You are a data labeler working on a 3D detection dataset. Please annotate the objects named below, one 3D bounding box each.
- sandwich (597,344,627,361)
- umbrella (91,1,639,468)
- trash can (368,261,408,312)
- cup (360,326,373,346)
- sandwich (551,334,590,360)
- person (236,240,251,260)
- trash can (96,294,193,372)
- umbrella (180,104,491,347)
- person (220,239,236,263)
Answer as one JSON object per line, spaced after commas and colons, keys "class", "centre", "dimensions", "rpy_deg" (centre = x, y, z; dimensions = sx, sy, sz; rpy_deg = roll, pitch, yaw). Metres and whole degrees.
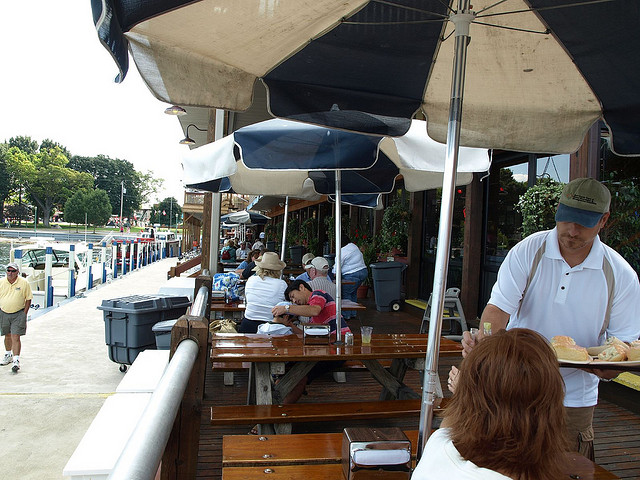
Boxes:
{"class": "sandwich", "centre": [1.433, 0.555, 2.528], "dimensions": [0.111, 0.068, 0.095], "rpy_deg": [0, 2, -4]}
{"class": "umbrella", "centre": [0.040, -0.077, 3.465], "dimensions": [2.480, 2.776, 2.645], "rpy_deg": [-9, 20, -40]}
{"class": "trash can", "centre": [1.318, 0.997, 10.993], "dimensions": [0.958, 1.107, 0.865], "rpy_deg": [-1, -1, -6]}
{"class": "cup", "centre": [0.382, 0.864, 4.603], "dimensions": [0.145, 0.172, 0.134], "rpy_deg": [0, -9, 0]}
{"class": "sandwich", "centre": [1.207, 0.495, 2.495], "dimensions": [0.136, 0.051, 0.140], "rpy_deg": [6, 1, 44]}
{"class": "person", "centre": [-2.820, 0.351, 18.629], "dimensions": [0.668, 0.850, 0.498], "rpy_deg": [-1, 0, 3]}
{"class": "trash can", "centre": [-2.679, 1.403, 7.964], "dimensions": [0.857, 1.040, 1.366], "rpy_deg": [-3, -2, 24]}
{"class": "umbrella", "centre": [0.254, -0.505, 5.251], "dimensions": [2.273, 1.721, 2.297], "rpy_deg": [6, 7, 38]}
{"class": "person", "centre": [-3.329, 0.391, 18.692], "dimensions": [0.507, 0.645, 1.213], "rpy_deg": [2, 13, -2]}
